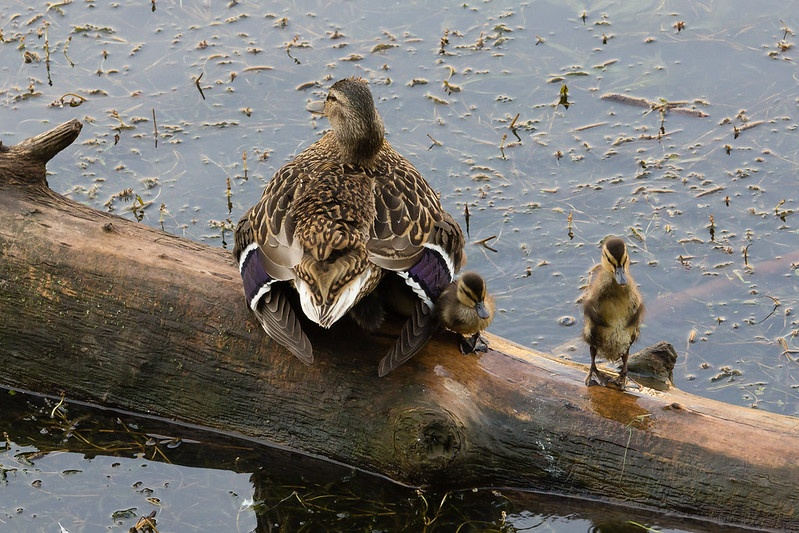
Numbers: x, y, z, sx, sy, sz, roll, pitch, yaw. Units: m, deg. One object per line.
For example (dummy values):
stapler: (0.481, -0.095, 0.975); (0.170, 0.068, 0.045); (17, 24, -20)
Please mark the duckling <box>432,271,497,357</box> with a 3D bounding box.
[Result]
duckling: (0.541, 0.372, 7.691); (0.463, 0.643, 0.305); (6, 18, 2)
